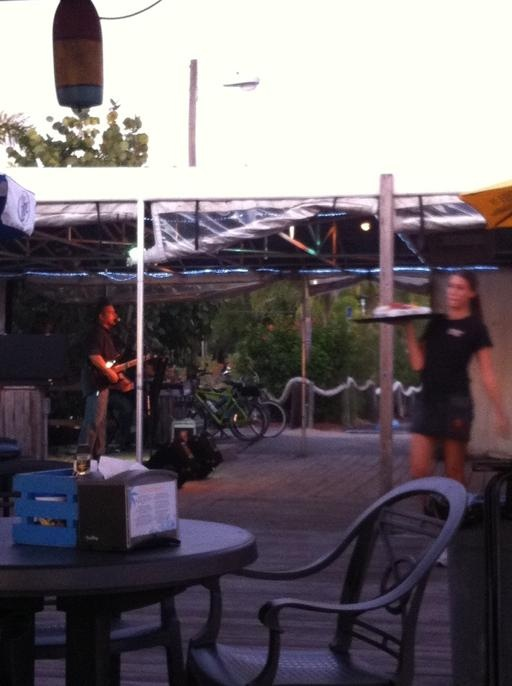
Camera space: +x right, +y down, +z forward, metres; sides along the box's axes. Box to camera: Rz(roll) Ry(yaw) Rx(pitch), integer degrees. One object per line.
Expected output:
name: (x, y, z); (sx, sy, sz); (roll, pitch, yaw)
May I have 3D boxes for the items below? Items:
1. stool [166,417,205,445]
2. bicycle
stool: (-0.801, 0.987, 10.951); (0.348, 0.419, 0.290); (1, -5, -3)
bicycle: (-0.518, 0.980, 14.591); (1.741, 1.251, 0.841); (-1, -3, 17)
